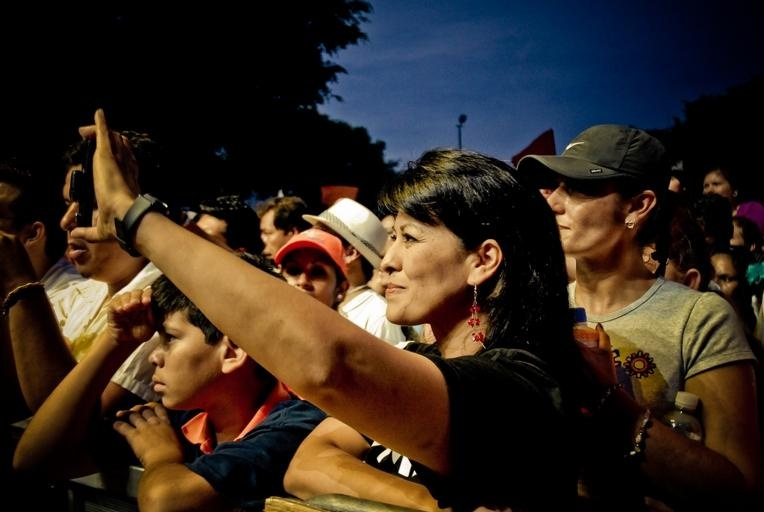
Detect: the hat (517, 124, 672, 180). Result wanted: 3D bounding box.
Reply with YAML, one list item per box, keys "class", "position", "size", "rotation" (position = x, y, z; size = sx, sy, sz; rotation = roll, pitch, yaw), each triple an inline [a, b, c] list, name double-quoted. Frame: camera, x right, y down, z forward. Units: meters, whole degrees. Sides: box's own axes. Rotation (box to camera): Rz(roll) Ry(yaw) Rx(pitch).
- class: "hat"
  position: [1.508, -0.753, 4.326]
  size: [0.995, 0.352, 0.630]
  rotation: [-5, 17, -12]

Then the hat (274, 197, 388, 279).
- class: "hat"
  position: [-0.402, -0.237, 6.213]
  size: [0.800, 0.360, 0.622]
  rotation: [36, -3, -19]
